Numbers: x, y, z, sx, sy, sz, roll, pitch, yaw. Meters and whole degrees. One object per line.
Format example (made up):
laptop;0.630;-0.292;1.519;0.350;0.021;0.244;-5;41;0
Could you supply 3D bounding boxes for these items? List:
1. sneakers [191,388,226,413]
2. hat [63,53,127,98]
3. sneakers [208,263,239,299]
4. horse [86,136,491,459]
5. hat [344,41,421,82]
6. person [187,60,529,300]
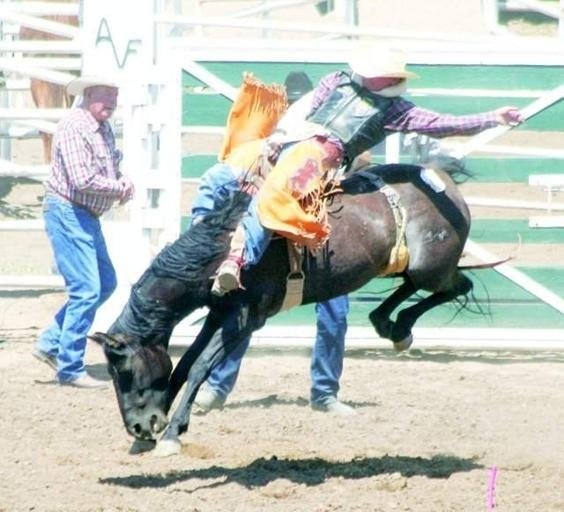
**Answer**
sneakers;-0.488;0.984;7.960;0.102;0.107;0.232;-42;-21;27
hat;-1.351;-1.335;8.878;0.537;0.117;0.469;-16;-2;14
sneakers;-0.334;0.131;6.709;0.134;0.153;0.150;32;31;-9
horse;0.118;0.198;7.411;0.847;1.296;3.457;7;20;42
hat;0.676;-1.189;6.966;0.316;0.252;0.109;5;-34;43
person;0.237;-0.502;7.034;1.352;1.484;0.680;5;8;-24
